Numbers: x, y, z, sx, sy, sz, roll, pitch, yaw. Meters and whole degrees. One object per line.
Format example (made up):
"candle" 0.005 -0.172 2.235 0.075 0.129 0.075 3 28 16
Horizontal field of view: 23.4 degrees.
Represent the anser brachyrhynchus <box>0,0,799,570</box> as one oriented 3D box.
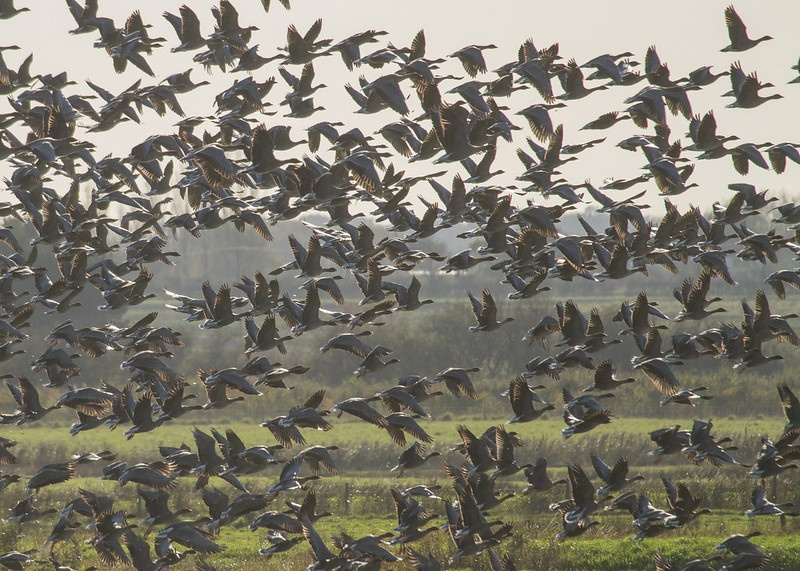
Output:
"anser brachyrhynchus" -2.072 -3.797 70.525 24.556 7.673 21.361 0 22 4
